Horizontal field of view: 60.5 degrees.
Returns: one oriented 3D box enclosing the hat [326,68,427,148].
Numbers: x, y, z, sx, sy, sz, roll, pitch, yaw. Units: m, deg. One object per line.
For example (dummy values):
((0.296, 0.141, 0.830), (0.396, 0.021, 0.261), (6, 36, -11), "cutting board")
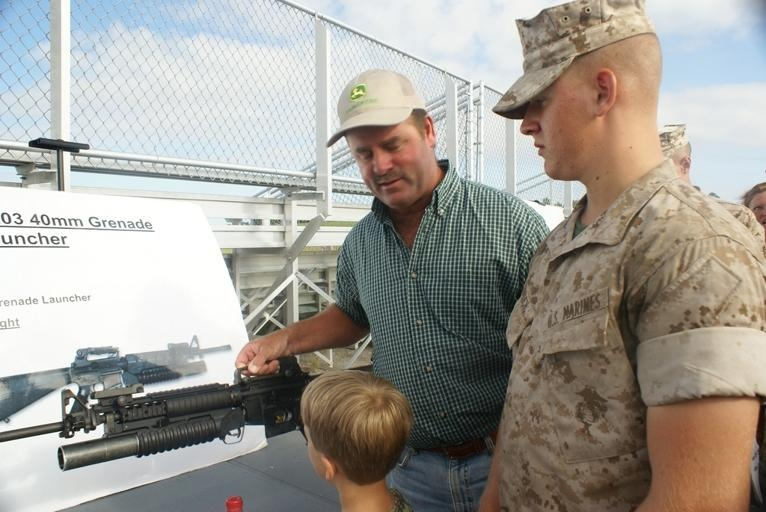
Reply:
((-0.042, -0.710, 2.983), (0.395, 0.265, 0.554), (-12, 10, 25), "hat")
